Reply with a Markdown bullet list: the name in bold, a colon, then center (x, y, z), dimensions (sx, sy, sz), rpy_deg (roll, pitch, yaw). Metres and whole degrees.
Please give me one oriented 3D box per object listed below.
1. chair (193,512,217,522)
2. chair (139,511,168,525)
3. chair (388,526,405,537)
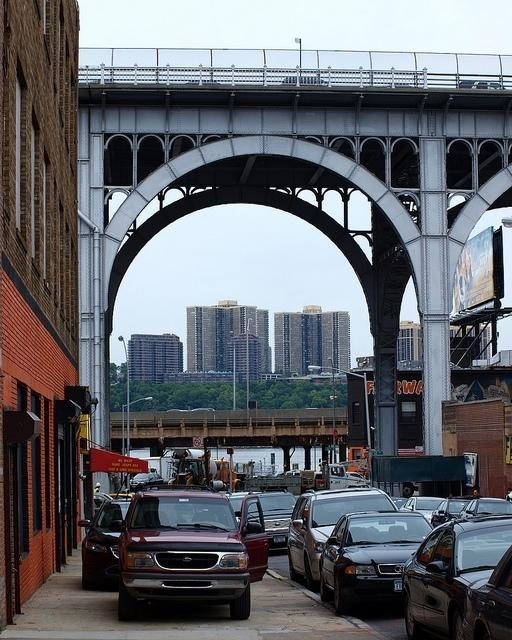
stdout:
- **chair**: center (-0.701, 2.701, 19.150), dimensions (0.305, 0.126, 0.158), rpy_deg (0, -9, -13)
- **chair**: center (-1.410, 2.683, 18.935), dimensions (0.314, 0.225, 0.287), rpy_deg (-4, -9, 16)
- **chair**: center (2.043, 3.079, 20.347), dimensions (0.230, 0.187, 0.351), rpy_deg (-3, -9, 5)
